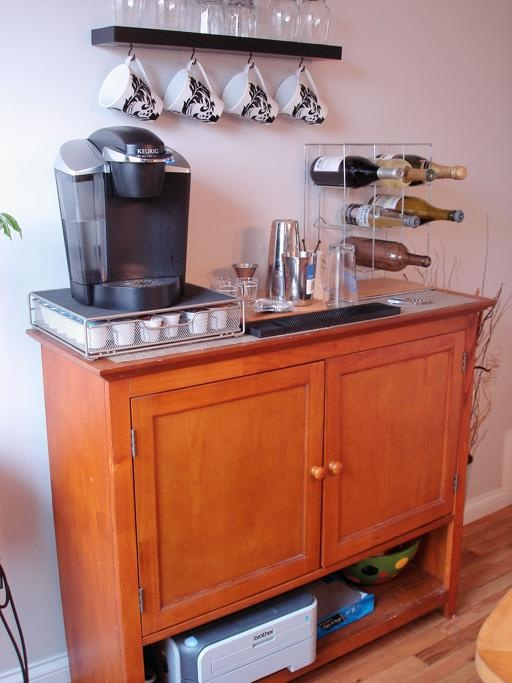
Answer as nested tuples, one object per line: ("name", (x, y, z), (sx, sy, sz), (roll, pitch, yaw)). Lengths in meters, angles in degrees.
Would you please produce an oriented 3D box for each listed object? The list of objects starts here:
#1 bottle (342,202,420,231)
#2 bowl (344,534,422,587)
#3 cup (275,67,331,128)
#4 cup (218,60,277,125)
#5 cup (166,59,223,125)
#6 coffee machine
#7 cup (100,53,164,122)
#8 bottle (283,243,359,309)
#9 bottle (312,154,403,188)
("bottle", (0.335, -0.362, 1.745), (0.168, 0.062, 0.140), (2, 17, 9))
("bowl", (0.335, 0.692, 1.858), (0.246, 0.089, 0.250), (-4, -6, 0))
("cup", (0.134, -0.674, 1.632), (0.181, 0.157, 0.079), (-14, 21, -36))
("cup", (-0.016, -0.628, 1.513), (0.136, 0.149, 0.088), (-16, 23, -41))
("cup", (-0.132, -0.597, 1.426), (0.180, 0.146, 0.081), (-17, 23, -42))
("coffee machine", (-0.256, -0.230, 1.144), (0.282, 0.357, 0.238), (-19, 35, -38))
("cup", (-0.269, -0.533, 1.336), (0.112, 0.151, 0.107), (-1, -12, 0))
("bottle", (0.153, -0.184, 1.556), (0.213, 0.167, 0.128), (-12, 24, -24))
("bottle", (0.294, -0.458, 1.640), (0.205, 0.097, 0.360), (-8, 18, -22))
